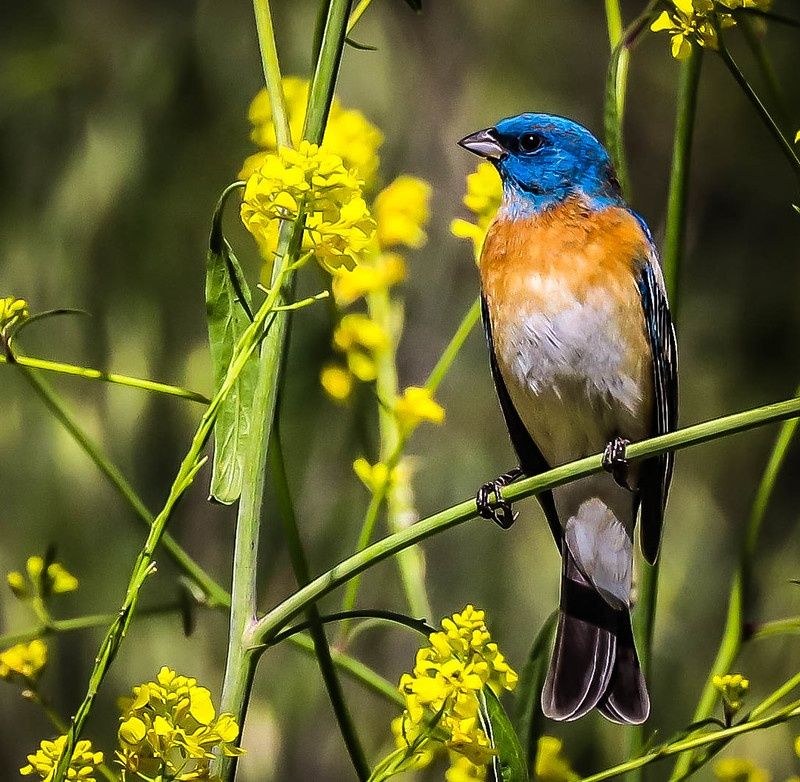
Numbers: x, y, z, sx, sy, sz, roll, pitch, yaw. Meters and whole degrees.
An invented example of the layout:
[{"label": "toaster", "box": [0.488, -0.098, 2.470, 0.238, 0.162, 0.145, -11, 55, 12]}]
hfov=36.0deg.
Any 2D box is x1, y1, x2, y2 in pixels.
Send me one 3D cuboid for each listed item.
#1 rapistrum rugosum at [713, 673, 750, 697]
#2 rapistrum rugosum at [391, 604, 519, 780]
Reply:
[{"label": "rapistrum rugosum", "box": [0.493, 0.421, 1.816, 0.036, 0.041, 0.027, -1, -87, -8]}, {"label": "rapistrum rugosum", "box": [0.075, 0.453, 1.708, 0.118, 0.139, 0.270, 17, -59, 15]}]
